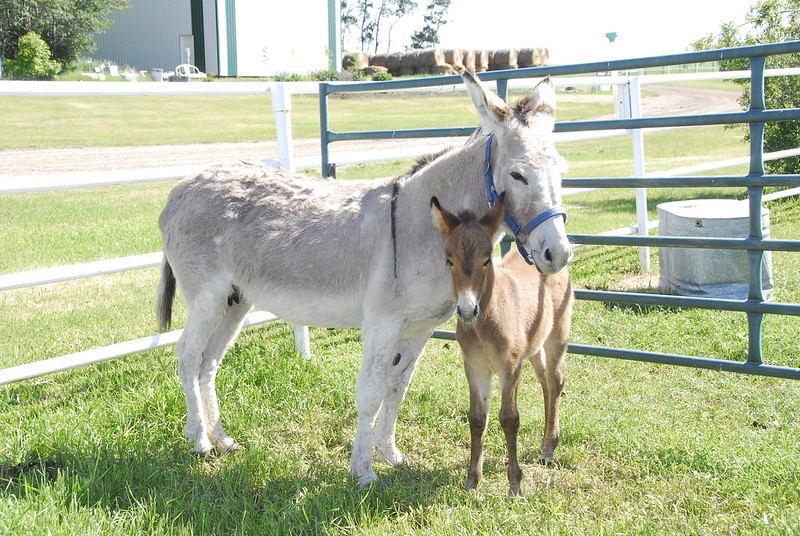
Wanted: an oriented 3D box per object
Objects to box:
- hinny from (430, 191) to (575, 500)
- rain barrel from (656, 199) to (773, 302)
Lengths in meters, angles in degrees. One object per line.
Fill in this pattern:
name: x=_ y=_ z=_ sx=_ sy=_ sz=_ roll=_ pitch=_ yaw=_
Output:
hinny: x=0.899 y=0.605 z=6.789 sx=0.743 sy=2.582 sz=1.495 roll=10 pitch=16 yaw=41
rain barrel: x=3.943 y=-0.212 z=10.003 sx=0.919 sy=1.284 sz=1.761 roll=-8 pitch=12 yaw=-4
